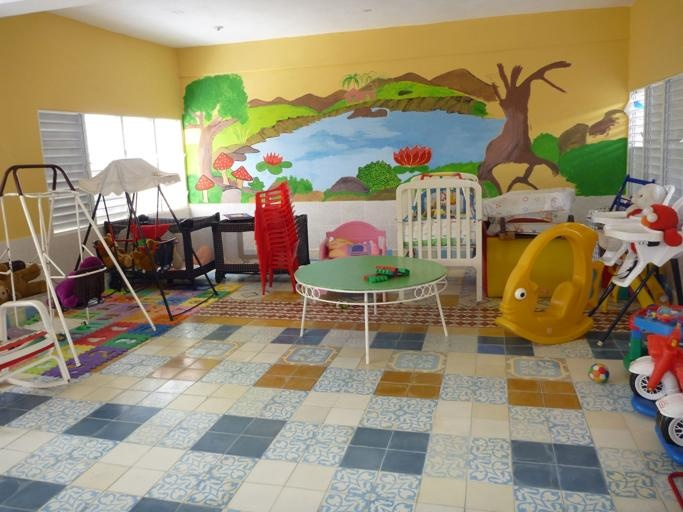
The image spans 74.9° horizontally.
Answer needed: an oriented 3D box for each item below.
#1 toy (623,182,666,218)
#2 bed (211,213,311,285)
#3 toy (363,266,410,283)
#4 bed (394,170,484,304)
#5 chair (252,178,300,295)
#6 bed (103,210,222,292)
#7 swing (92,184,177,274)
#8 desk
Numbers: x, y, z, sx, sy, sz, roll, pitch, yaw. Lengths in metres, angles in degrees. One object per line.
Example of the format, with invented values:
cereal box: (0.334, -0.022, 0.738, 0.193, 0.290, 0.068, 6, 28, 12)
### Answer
toy: (2.681, -0.485, 3.892, 0.269, 0.285, 0.252, -7, 23, 24)
bed: (-1.058, -0.171, 6.887, 1.981, 1.058, 1.067, 0, 9, 2)
toy: (0.372, 0.163, 4.162, 0.459, 0.080, 0.316, -12, 16, -35)
bed: (1.381, -0.351, 6.139, 1.224, 1.107, 1.780, 2, 8, 14)
chair: (-0.887, -0.256, 6.038, 0.599, 1.465, 0.667, -8, 17, -7)
bed: (-2.467, -0.109, 6.252, 1.759, 0.945, 1.129, 4, 13, 14)
swing: (-2.713, -0.301, 5.774, 0.931, 1.189, 1.823, -10, 15, -17)
desk: (0.282, 0.405, 4.613, 1.558, 0.744, 1.768, -3, 14, 3)
